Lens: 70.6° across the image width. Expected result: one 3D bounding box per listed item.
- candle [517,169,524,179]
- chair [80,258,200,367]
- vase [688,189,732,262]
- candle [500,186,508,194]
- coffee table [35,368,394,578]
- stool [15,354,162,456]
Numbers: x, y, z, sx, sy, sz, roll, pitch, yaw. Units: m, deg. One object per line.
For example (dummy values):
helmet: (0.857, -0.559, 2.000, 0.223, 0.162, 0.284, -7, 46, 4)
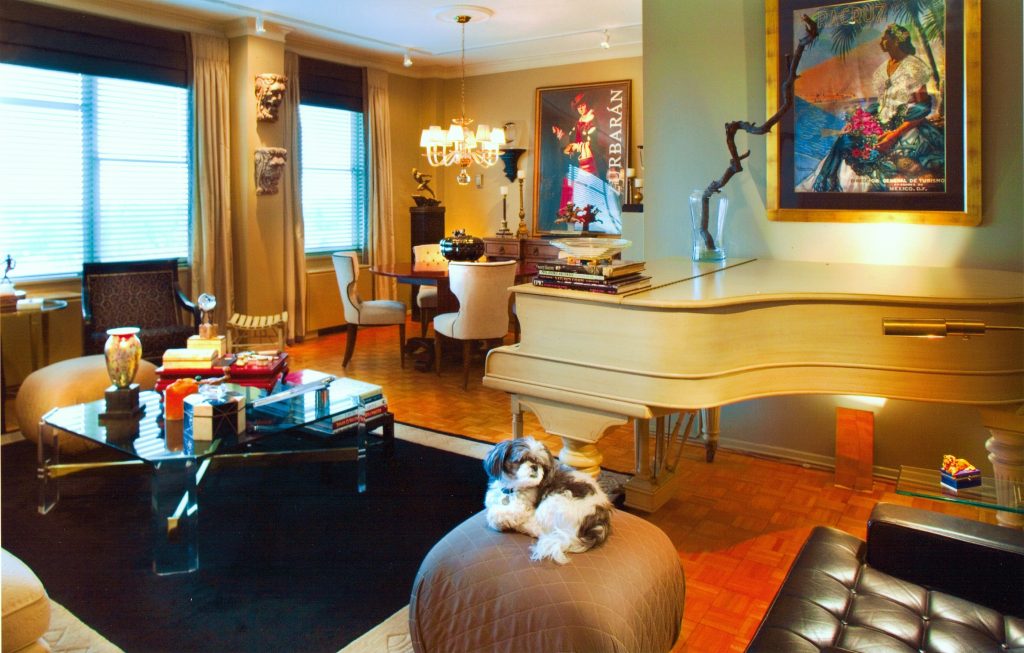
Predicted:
candle: (0.110, -1.868, 8.827, 0.104, 0.114, 0.102, -2, 8, -7)
chair: (-3.215, -0.125, 6.134, 0.699, 1.201, 0.872, 10, 11, 44)
vase: (1.348, -0.699, 4.952, 0.274, 0.443, 0.449, 0, 11, 16)
candle: (-0.103, -1.700, 8.984, 0.116, 0.108, 0.114, 0, 5, -9)
coffee table: (-1.901, 0.634, 4.282, 1.293, 0.525, 1.478, 6, 9, 30)
stool: (-2.975, 0.406, 4.955, 0.672, 0.465, 0.879, 14, 12, 10)
